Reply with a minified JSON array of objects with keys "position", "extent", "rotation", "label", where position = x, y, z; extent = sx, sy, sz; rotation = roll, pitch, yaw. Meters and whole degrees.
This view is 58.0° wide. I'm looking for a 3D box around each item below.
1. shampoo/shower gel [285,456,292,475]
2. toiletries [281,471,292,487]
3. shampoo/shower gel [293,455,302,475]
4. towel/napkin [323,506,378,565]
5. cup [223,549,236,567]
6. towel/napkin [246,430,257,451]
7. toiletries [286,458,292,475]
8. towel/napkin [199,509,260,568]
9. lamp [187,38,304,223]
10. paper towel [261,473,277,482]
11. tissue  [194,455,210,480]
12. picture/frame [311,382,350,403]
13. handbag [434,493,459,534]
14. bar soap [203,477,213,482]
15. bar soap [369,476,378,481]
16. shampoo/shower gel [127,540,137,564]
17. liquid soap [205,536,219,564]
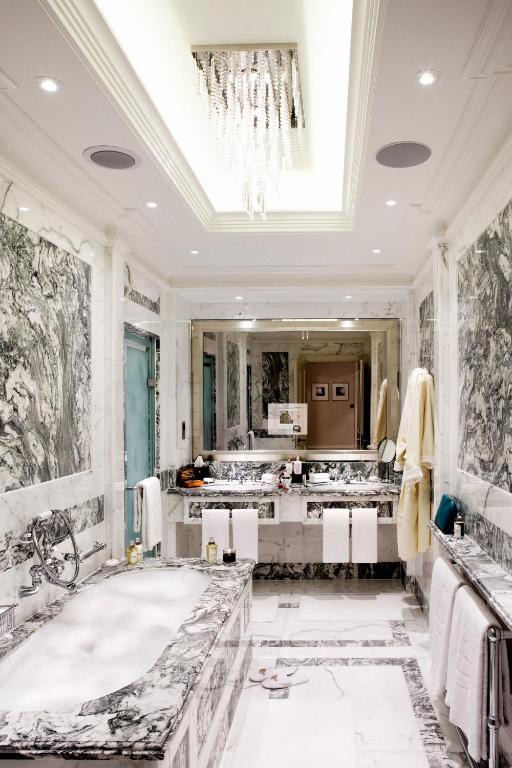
[{"position":[0.285,0.757,4.138],"extent":[0.062,0.157,0.069],"rotation":[-4,-10,30],"label":"shampoo/shower gel"},{"position":[0.266,0.828,3.991],"extent":[0.057,0.113,0.039],"rotation":[4,-22,-2],"label":"toiletries"},{"position":[0.366,0.745,4.104],"extent":[0.078,0.202,0.096],"rotation":[0,-12,-1],"label":"shampoo/shower gel"},{"position":[0.769,1.226,3.767],"extent":[0.333,0.441,0.128],"rotation":[0,1,8],"label":"towel/napkin"},{"position":[-0.156,0.990,2.627],"extent":[0.056,0.086,0.065],"rotation":[1,0,-2],"label":"cup"},{"position":[-0.042,0.535,4.293],"extent":[0.076,0.180,0.025],"rotation":[0,-5,-10],"label":"towel/napkin"},{"position":[0.300,0.760,4.125],"extent":[0.058,0.154,0.070],"rotation":[-1,-8,4],"label":"toiletries"},{"position":[-0.192,1.142,3.452],"extent":[0.397,0.523,0.167],"rotation":[0,-3,4],"label":"towel/napkin"},{"position":[-0.052,-1.077,1.939],"extent":[0.309,0.669,0.371],"rotation":[-1,-2,-2],"label":"lamp"},{"position":[0.113,0.853,4.146],"extent":[0.056,0.075,0.174],"rotation":[4,-9,-42],"label":"paper towel"},{"position":[-0.491,0.767,4.218],"extent":[0.153,0.320,0.154],"rotation":[0,5,-2],"label":"tissue "},{"position":[0.686,0.080,4.248],"extent":[0.330,0.174,0.014],"rotation":[-2,-5,5],"label":"picture/frame"},{"position":[1.006,0.690,2.426],"extent":[0.061,0.187,0.169],"rotation":[9,2,12],"label":"handbag"},{"position":[-0.419,0.868,4.142],"extent":[0.093,0.045,0.068],"rotation":[4,-8,-39],"label":"bar soap"},{"position":[1.070,0.870,4.219],"extent":[0.040,0.052,0.011],"rotation":[-2,-17,14],"label":"bar soap"},{"position":[-0.700,0.955,2.604],"extent":[0.049,0.106,0.133],"rotation":[1,-6,-16],"label":"shampoo/shower gel"},{"position":[-0.255,0.965,2.635],"extent":[0.059,0.115,0.106],"rotation":[0,-6,-12],"label":"liquid soap"}]
